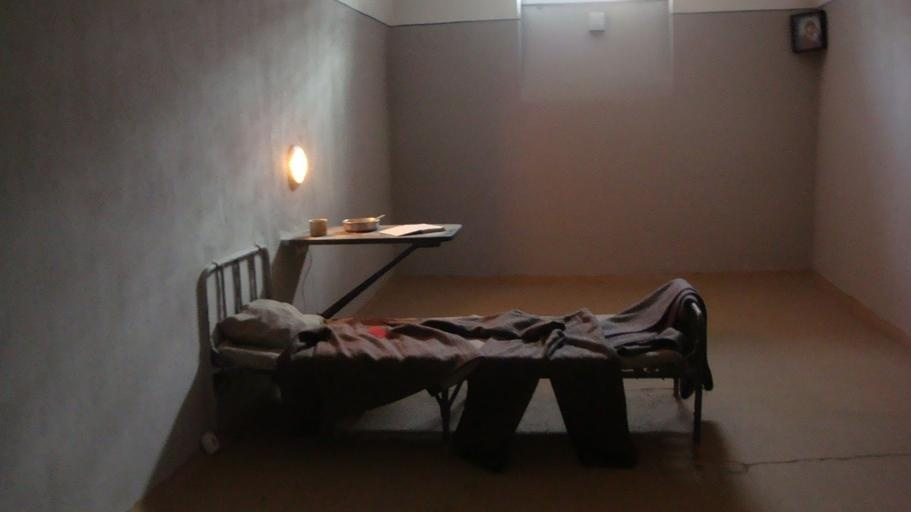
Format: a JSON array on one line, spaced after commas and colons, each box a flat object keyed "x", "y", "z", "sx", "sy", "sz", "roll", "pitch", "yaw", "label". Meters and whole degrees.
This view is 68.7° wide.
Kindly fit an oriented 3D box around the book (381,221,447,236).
[{"x": -0.295, "y": -0.173, "z": 4.500, "sx": 0.439, "sy": 0.029, "sz": 0.362, "roll": 0, "pitch": 11, "yaw": 3, "label": "book"}]

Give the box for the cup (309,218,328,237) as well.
[{"x": -0.932, "y": -0.193, "z": 4.521, "sx": 0.112, "sy": 0.106, "sz": 0.127, "roll": -4, "pitch": 11, "yaw": -16, "label": "cup"}]

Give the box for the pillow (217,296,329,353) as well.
[{"x": -1.050, "y": 0.358, "z": 4.008, "sx": 0.544, "sy": 0.154, "sz": 0.446, "roll": 4, "pitch": 12, "yaw": 19, "label": "pillow"}]

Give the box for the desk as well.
[{"x": -0.652, "y": 0.044, "z": 4.681, "sx": 0.921, "sy": 0.545, "sz": 0.826, "roll": 1, "pitch": 8, "yaw": 6, "label": "desk"}]

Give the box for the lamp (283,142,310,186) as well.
[{"x": -1.105, "y": -0.619, "z": 4.640, "sx": 0.053, "sy": 0.303, "sz": 0.225, "roll": 1, "pitch": 10, "yaw": 12, "label": "lamp"}]

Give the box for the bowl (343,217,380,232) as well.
[{"x": -0.658, "y": -0.210, "z": 4.577, "sx": 0.167, "sy": 0.065, "sz": 0.166, "roll": -10, "pitch": 1, "yaw": 0, "label": "bowl"}]

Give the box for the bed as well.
[{"x": 0.034, "y": 0.588, "z": 4.185, "sx": 2.334, "sy": 0.910, "sz": 1.449, "roll": -2, "pitch": 15, "yaw": 4, "label": "bed"}]
